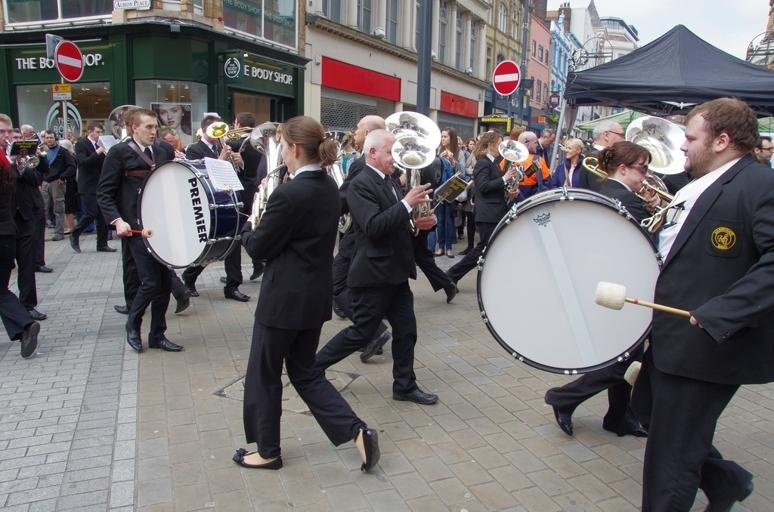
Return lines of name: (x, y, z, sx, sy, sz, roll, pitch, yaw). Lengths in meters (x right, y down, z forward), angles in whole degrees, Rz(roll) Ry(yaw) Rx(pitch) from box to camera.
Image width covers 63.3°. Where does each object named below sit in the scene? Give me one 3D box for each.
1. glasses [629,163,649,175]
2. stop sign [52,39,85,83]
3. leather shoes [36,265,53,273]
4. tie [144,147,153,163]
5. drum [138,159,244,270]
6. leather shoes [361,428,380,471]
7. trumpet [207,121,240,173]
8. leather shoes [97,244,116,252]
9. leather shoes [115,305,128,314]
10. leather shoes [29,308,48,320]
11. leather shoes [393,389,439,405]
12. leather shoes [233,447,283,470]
glasses: (2.128, -0.725, 5.258, 0.114, 0.082, 0.093, 1, 4, 20)
stop sign: (-5.578, -3.400, 10.945, 0.378, 0.664, 0.982, -5, 16, -21)
leather shoes: (-5.372, 0.229, 9.824, 0.264, 0.101, 0.094, 0, 2, -3)
tie: (-2.598, -1.086, 6.812, 0.042, 0.150, 0.115, -14, 0, 26)
drum: (-2.100, -0.450, 6.625, 1.090, 1.105, 0.504, 9, 11, 27)
leather shoes: (-0.131, 1.521, 4.880, 0.136, 0.331, 0.124, -3, 4, -26)
trumpet: (-2.334, -1.645, 8.647, 0.236, 0.251, 0.523, -9, -3, -14)
leather shoes: (-5.175, -0.119, 11.509, 0.392, 0.148, 0.139, 0, 7, -12)
leather shoes: (-3.371, 0.691, 7.922, 0.229, 0.089, 0.077, 19, 13, 28)
leather shoes: (-4.242, 0.722, 7.595, 0.249, 0.106, 0.093, 5, 9, 39)
leather shoes: (0.276, 1.332, 5.934, 0.434, 0.170, 0.152, 1, 1, 5)
leather shoes: (-1.020, 1.617, 4.941, 0.320, 0.092, 0.160, 7, 6, 5)
